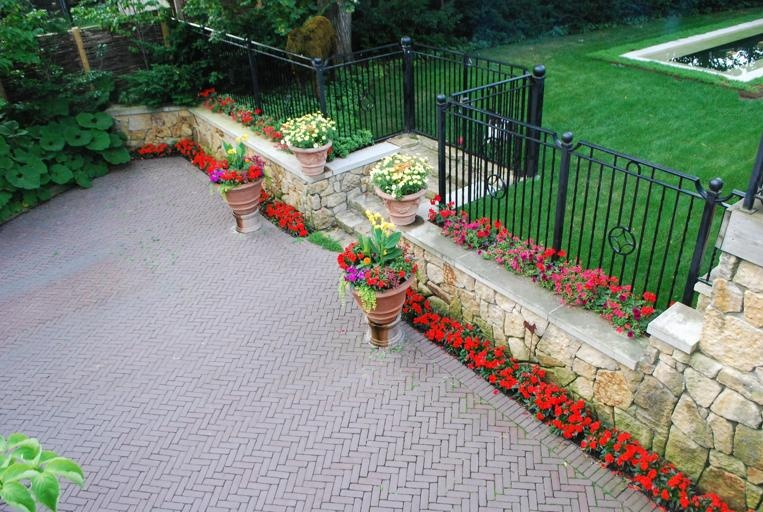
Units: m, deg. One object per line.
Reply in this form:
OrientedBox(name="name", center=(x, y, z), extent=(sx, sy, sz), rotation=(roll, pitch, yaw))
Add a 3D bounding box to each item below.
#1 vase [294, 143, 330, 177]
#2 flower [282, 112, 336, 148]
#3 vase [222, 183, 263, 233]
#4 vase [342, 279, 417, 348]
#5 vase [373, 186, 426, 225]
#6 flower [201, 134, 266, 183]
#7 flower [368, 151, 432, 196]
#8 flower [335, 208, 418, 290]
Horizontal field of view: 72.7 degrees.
OrientedBox(name="vase", center=(-1.188, -1.655, 8.943), extent=(0.671, 0.477, 0.689), rotation=(8, 20, 39))
OrientedBox(name="flower", center=(-1.216, -2.123, 8.782), extent=(0.768, 0.431, 0.817), rotation=(-11, 35, -6))
OrientedBox(name="vase", center=(-2.482, -0.930, 9.457), extent=(0.886, 0.889, 0.882), rotation=(-11, 15, -17))
OrientedBox(name="vase", center=(0.021, 0.772, 7.259), extent=(0.945, 0.882, 0.909), rotation=(-4, 14, -1))
OrientedBox(name="vase", center=(0.328, -0.733, 7.742), extent=(0.708, 0.481, 0.703), rotation=(-8, 18, -17))
OrientedBox(name="flower", center=(-2.565, -1.620, 9.438), extent=(0.843, 0.658, 1.143), rotation=(-3, 39, -7))
OrientedBox(name="flower", center=(0.306, -1.198, 7.616), extent=(0.739, 0.410, 0.745), rotation=(-6, 38, -5))
OrientedBox(name="flower", center=(-0.073, -0.008, 6.915), extent=(0.845, 0.755, 0.865), rotation=(23, 44, 33))
